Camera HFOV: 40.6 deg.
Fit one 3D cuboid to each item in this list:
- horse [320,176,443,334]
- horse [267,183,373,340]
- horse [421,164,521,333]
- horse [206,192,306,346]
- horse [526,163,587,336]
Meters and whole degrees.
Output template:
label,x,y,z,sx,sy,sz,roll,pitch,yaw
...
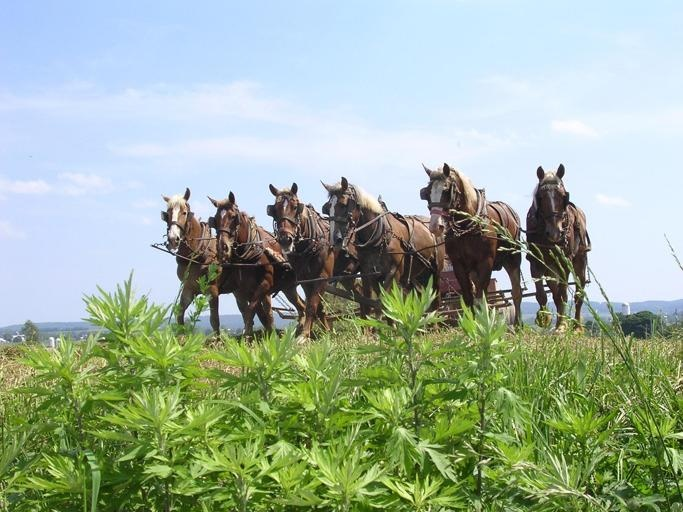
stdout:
label,x,y,z,sx,sy,sz,roll,pitch,yaw
horse,0.792,0.166,13.205,0.878,2.003,2.600,-10,-16,44
horse,-0.205,0.234,13.712,0.662,1.990,2.696,-5,-12,27
horse,1.864,0.020,12.107,0.630,2.025,2.639,-5,-9,33
horse,-1.318,0.456,14.608,0.814,2.197,2.977,-8,-14,16
horse,2.813,-0.194,12.239,0.763,2.003,2.588,1,4,14
